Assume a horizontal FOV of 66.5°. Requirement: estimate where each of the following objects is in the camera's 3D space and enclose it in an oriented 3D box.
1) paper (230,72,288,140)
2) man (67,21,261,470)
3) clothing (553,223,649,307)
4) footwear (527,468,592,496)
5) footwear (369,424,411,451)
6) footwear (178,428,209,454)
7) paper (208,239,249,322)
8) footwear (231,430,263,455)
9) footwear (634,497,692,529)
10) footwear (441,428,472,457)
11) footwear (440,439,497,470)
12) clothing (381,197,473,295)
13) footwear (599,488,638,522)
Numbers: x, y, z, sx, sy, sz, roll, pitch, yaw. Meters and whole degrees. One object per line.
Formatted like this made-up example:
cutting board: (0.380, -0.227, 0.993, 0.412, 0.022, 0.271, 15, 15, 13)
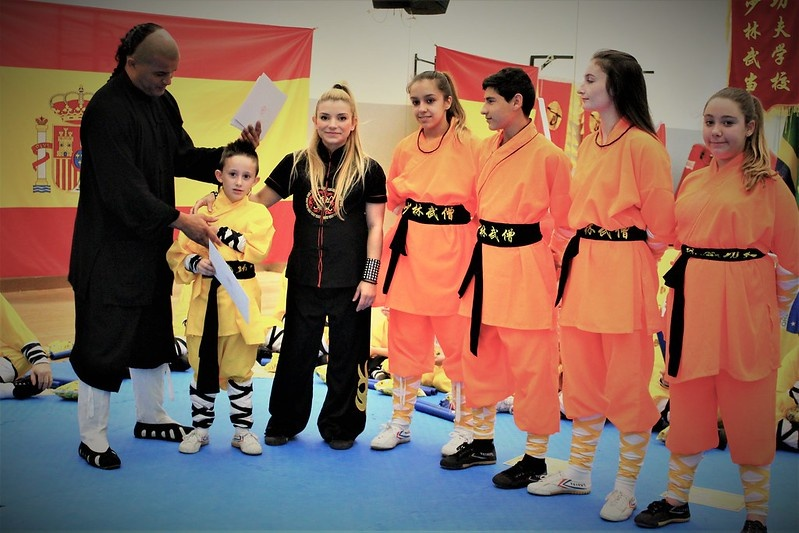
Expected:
paper: (-0.800, -0.933, 3.533, 0.085, 0.337, 0.341, 33, 5, 24)
man: (-1.283, -0.076, 3.608, 1.178, 2.440, 0.974, -1, 14, -31)
clothing: (1.079, -0.009, 3.324, 0.457, 0.390, 0.368, 3, 4, 38)
footwear: (0.889, 1.190, 3.375, 0.386, 0.142, 0.135, 1, -2, -3)
footwear: (-0.058, 1.062, 3.776, 0.110, 0.105, 0.258, -6, -8, 35)
footwear: (-1.202, 1.033, 3.573, 0.087, 0.112, 0.190, -3, -9, 23)
paper: (-0.940, 0.090, 3.337, 0.202, 0.442, 0.446, 1, 5, -18)
footwear: (-0.892, 1.046, 3.586, 0.091, 0.079, 0.211, -4, 4, -40)
footwear: (1.333, 1.248, 3.104, 0.324, 0.119, 0.111, -1, -1, -14)
footwear: (0.351, 1.076, 3.726, 0.232, 0.091, 0.097, -39, 46, -14)
footwear: (0.412, 1.117, 3.613, 0.400, 0.158, 0.130, 1, -4, -11)
clothing: (0.162, -0.128, 3.869, 0.500, 0.592, 0.478, 1, 13, -24)
footwear: (1.141, 1.232, 3.138, 0.233, 0.133, 0.090, 0, 5, -21)
